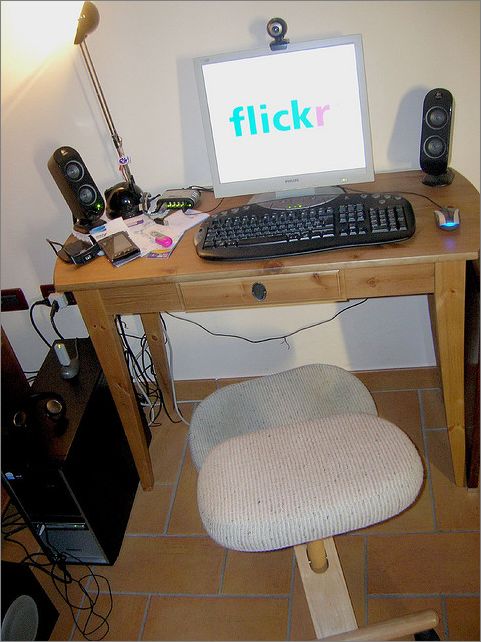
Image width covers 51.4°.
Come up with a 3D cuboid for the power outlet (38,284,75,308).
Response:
[{"bbox_3d":[-0.649,-0.103,1.776,0.132,0.132,0.038,2,7,21],"label":"power outlet"}]

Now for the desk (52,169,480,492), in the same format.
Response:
[{"bbox_3d":[0.172,0.165,1.855,1.438,1.033,0.774,-6,49,12],"label":"desk"}]

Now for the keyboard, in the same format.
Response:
[{"bbox_3d":[0.138,-0.225,1.172,0.505,0.043,0.222,-7,36,9],"label":"keyboard"}]

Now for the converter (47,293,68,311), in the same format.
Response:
[{"bbox_3d":[-0.647,-0.075,1.773,0.050,0.046,0.028,4,27,15],"label":"converter"}]

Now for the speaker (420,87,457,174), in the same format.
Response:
[{"bbox_3d":[0.482,-0.468,1.236,0.068,0.200,0.043,1,36,19],"label":"speaker"}]

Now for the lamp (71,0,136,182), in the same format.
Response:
[{"bbox_3d":[-0.342,-0.592,1.384,0.089,0.501,0.098,-10,29,14],"label":"lamp"}]

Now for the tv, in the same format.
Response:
[{"bbox_3d":[0.120,-0.524,1.259,0.487,0.430,0.037,-2,30,12],"label":"tv"}]
